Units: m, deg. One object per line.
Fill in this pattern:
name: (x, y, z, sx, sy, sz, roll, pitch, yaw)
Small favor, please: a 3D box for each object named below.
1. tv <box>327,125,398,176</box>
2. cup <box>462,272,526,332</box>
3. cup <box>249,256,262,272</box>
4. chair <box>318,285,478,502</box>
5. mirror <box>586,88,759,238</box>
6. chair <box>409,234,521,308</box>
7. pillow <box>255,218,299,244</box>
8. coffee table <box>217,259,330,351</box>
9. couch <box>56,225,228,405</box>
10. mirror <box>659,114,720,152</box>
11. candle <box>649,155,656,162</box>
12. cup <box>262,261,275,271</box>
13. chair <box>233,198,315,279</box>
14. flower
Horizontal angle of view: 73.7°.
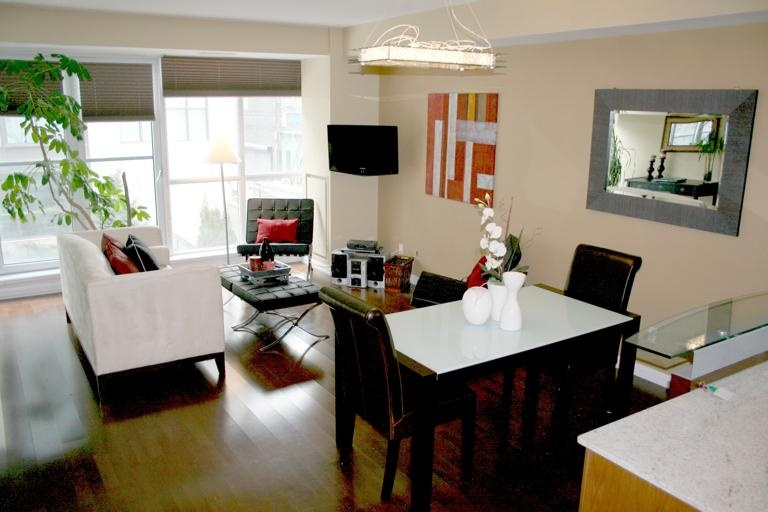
tv: (-0.292, -1.402, 6.770, 0.996, 0.663, 0.086, -5, 17, -20)
cup: (0.804, 0.300, 3.818, 0.524, 0.495, 0.315, 10, 12, 33)
cup: (-1.403, 0.074, 5.511, 0.150, 0.143, 0.149, 4, 17, -1)
chair: (0.098, 0.905, 3.621, 0.966, 1.206, 0.855, -3, 6, -37)
mirror: (2.556, -0.829, 4.460, 0.055, 1.077, 1.303, -15, 22, -39)
chair: (0.777, 0.081, 5.550, 1.003, 1.248, 0.725, 2, 10, -12)
pillow: (-1.457, -0.340, 7.058, 0.393, 0.252, 0.133, 0, -25, 1)
coffee table: (-1.264, 0.496, 5.706, 0.805, 0.462, 1.459, -5, 12, -29)
couch: (-2.573, 0.395, 5.377, 1.150, 1.040, 2.186, -6, 18, -36)
mirror: (2.610, -1.047, 4.349, 0.029, 0.251, 0.364, -8, 13, -41)
candle: (2.409, -0.883, 4.600, 0.041, 0.038, 0.041, -3, 7, -2)
cup: (-1.248, 0.106, 5.566, 0.102, 0.067, 0.100, 2, 7, 0)
chair: (-1.464, -0.366, 7.155, 0.985, 0.816, 0.771, 3, 15, 1)
flower: (0.989, -0.086, 4.270, 0.424, 0.721, 0.483, -11, -6, 34)
